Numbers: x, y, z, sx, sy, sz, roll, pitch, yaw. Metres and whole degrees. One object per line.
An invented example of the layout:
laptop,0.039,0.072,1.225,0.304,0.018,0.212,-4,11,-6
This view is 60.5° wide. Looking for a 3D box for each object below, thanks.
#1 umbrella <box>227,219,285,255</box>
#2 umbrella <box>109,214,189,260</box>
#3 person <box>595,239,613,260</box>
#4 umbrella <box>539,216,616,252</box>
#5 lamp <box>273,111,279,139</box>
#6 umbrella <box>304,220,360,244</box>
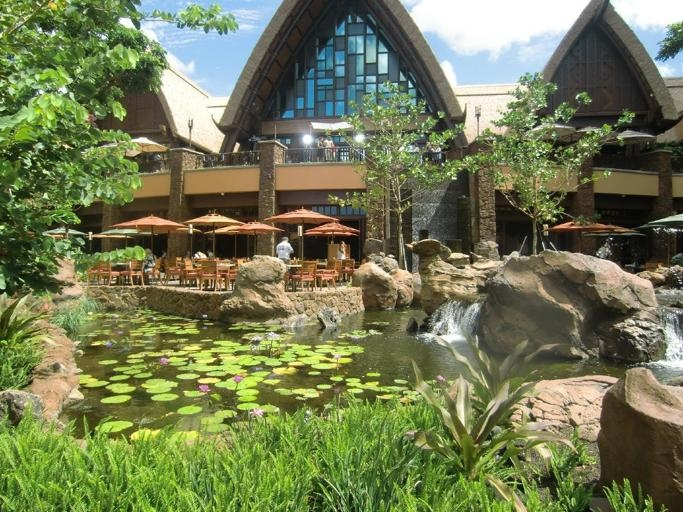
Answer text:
umbrella,-2.594,-0.814,17.472,1.640,1.089,1.610,-1,0,1
umbrella,-5.637,-0.632,17.372,1.432,1.052,1.494,2,6,-25
person,10.906,-0.330,24.331,0.754,0.630,0.849,2,15,-13
umbrella,8.473,-1.040,21.054,1.841,0.651,1.977,0,5,33
lamp,-3.099,-5.979,27.416,0.203,0.987,0.412,2,0,-7
umbrella,-0.210,-0.845,19.231,1.144,0.496,1.140,-5,7,-30
